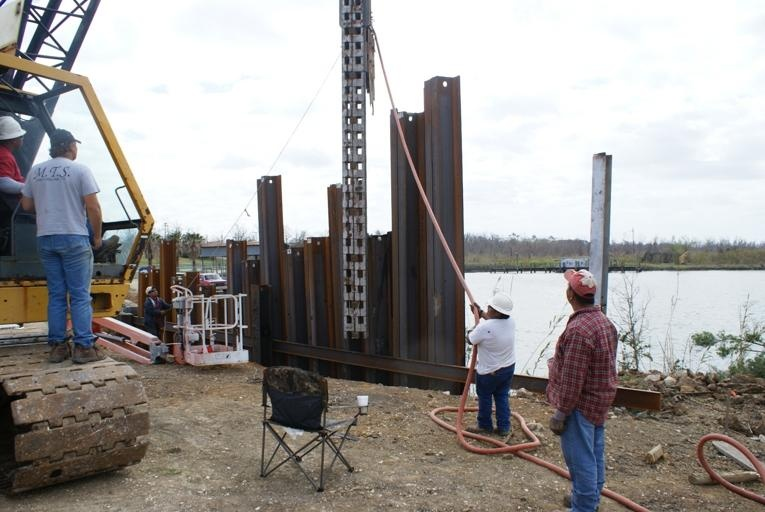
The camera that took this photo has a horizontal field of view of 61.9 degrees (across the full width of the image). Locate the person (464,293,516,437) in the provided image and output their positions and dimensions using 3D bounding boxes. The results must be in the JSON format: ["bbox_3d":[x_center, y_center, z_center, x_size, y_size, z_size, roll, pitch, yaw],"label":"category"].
[{"bbox_3d":[1.392,1.411,8.210,0.552,1.844,0.320,3,9,11],"label":"person"}]

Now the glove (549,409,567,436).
[{"bbox_3d":[1.772,1.682,6.509,0.175,0.114,0.248,-1,-4,3],"label":"glove"}]

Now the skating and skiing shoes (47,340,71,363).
[{"bbox_3d":[-3.531,1.041,6.976,0.220,0.220,0.195,-3,10,-29],"label":"skating and skiing shoes"}]

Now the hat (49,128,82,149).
[{"bbox_3d":[-3.604,-1.320,7.294,0.241,0.207,0.362,11,16,31],"label":"hat"}]

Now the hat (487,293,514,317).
[{"bbox_3d":[1.502,0.592,8.164,0.295,0.166,0.245,36,31,28],"label":"hat"}]

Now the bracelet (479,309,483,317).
[{"bbox_3d":[1.296,0.761,8.440,0.029,0.082,0.080,-23,42,-22],"label":"bracelet"}]

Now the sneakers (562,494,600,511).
[{"bbox_3d":[2.102,2.649,6.796,0.304,0.122,0.225,3,-2,9],"label":"sneakers"}]

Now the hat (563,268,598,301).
[{"bbox_3d":[2.040,0.284,6.607,0.222,0.184,0.347,1,38,0],"label":"hat"}]

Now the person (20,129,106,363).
[{"bbox_3d":[-3.494,0.044,7.032,0.758,2.203,0.632,-1,9,-13],"label":"person"}]

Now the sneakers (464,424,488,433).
[{"bbox_3d":[1.227,2.274,8.380,0.257,0.116,0.107,10,-7,21],"label":"sneakers"}]

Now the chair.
[{"bbox_3d":[-0.832,1.982,7.616,1.199,1.328,1.076,1,-1,40],"label":"chair"}]
